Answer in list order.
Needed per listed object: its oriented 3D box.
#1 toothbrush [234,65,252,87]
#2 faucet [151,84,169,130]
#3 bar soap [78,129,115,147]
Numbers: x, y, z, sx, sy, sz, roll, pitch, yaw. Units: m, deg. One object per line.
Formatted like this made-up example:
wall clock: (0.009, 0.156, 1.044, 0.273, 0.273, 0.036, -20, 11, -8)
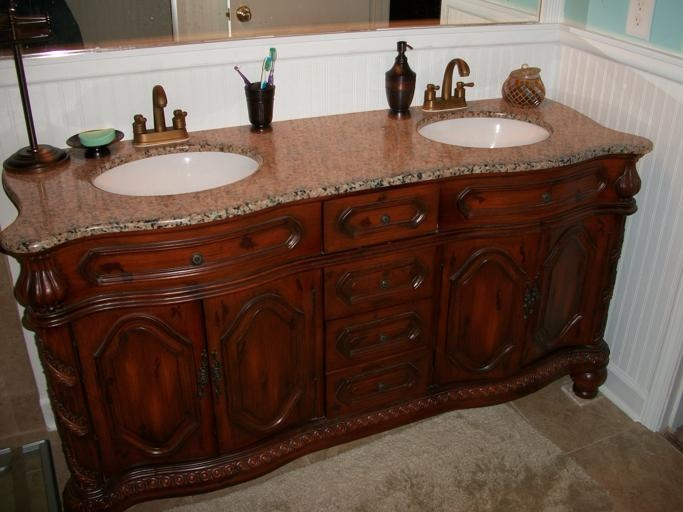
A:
toothbrush: (-0.354, -0.647, 1.985, 0.052, 0.072, 0.125, -9, 27, -12)
faucet: (-0.637, -0.517, 1.908, 0.060, 0.152, 0.150, -11, 29, -16)
bar soap: (-0.808, -0.395, 1.835, 0.108, 0.046, 0.126, 7, 28, 17)
